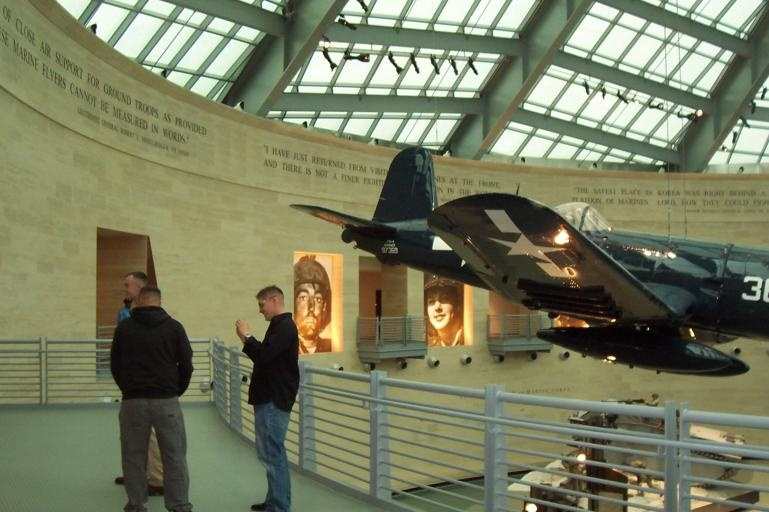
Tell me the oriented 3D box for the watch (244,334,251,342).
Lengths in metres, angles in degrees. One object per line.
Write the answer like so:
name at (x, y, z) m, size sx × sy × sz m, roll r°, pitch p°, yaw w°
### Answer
watch at (-1.678, 0.991, 8.614) m, size 0.084 × 0.064 × 0.073 m, roll 1°, pitch -14°, yaw -18°
